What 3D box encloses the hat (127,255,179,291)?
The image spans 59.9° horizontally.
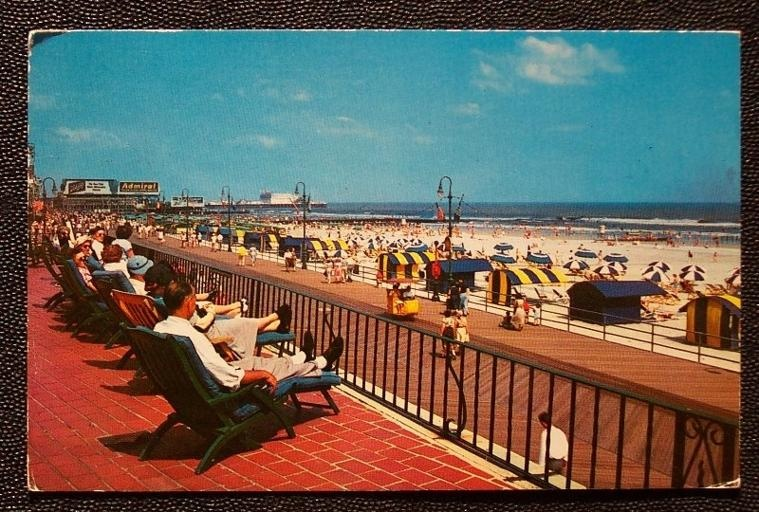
[{"bbox_3d":[-3.308,0.207,9.529,0.688,0.264,0.599,-7,22,-2],"label":"hat"}]

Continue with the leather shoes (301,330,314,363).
[{"bbox_3d":[-0.938,1.158,8.417,0.157,0.438,0.176,1,3,6],"label":"leather shoes"}]

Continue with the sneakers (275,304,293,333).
[{"bbox_3d":[-1.263,0.828,8.804,0.155,0.458,0.188,6,11,21],"label":"sneakers"}]

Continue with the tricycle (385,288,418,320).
[{"bbox_3d":[0.760,1.603,22.419,0.861,1.054,1.141,0,1,-32],"label":"tricycle"}]
